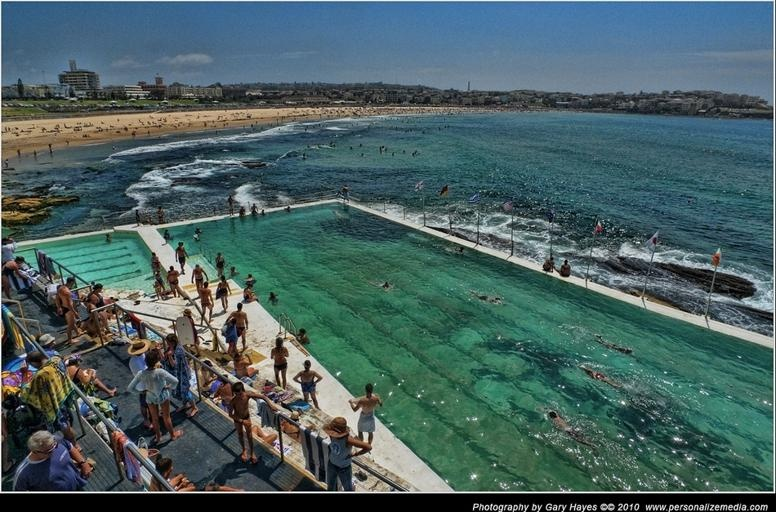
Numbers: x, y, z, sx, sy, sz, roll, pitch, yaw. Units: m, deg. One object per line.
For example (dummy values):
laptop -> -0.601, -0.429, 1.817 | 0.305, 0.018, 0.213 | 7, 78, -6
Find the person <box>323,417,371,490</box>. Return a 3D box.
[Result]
person -> -1.149, 5.120, 10.103 | 0.939, 2.301, 0.605 | -2, 23, -8

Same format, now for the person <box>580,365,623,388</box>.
person -> 9.234, 5.276, 17.308 | 1.709, 0.260, 0.623 | 13, 22, 34

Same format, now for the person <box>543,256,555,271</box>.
person -> 10.568, 0.524, 26.318 | 0.597, 0.860, 0.648 | -35, 54, -27

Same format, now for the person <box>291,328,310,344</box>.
person -> -4.122, 3.808, 18.745 | 0.681, 0.855, 0.656 | -6, 22, -17

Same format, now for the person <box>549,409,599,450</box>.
person -> 6.802, 6.580, 15.124 | 0.474, 0.867, 2.078 | -53, 36, -4

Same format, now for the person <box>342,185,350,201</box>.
person -> -4.329, -6.244, 39.639 | 0.608, 1.325, 1.064 | -2, 21, -8

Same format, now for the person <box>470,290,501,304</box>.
person -> 5.578, 2.415, 23.027 | 2.064, 0.650, 0.528 | 10, 15, 25

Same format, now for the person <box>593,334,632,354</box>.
person -> 10.790, 4.303, 19.513 | 0.567, 0.598, 1.710 | 2, 7, -25

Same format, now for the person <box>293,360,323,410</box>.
person -> -2.977, 4.577, 14.711 | 0.886, 2.220, 1.324 | -3, 22, -10
